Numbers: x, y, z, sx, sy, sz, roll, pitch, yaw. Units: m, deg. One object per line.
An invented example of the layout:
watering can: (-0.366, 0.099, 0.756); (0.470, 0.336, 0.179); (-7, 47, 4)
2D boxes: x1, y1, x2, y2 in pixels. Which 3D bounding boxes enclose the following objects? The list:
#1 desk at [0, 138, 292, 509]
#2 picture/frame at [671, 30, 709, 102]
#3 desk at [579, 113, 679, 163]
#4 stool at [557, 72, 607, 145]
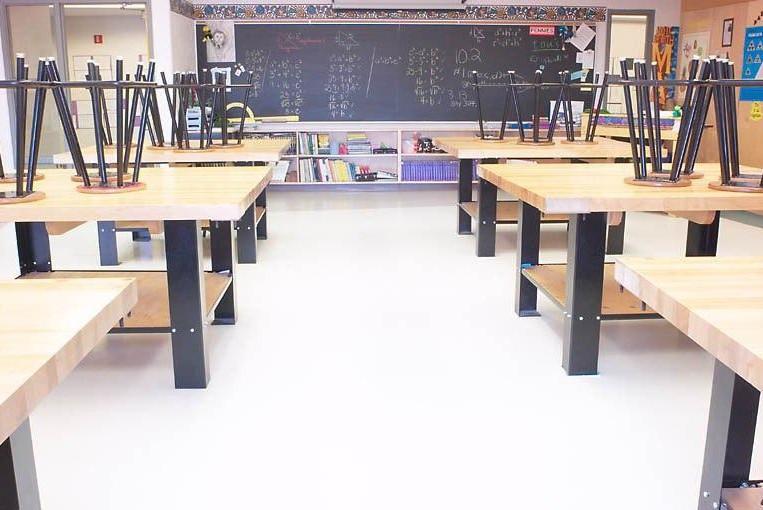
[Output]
desk: (-0.769, 0.235, 2.816); (1.546, 0.879, 1.278); (0, 21, -2)
picture/frame: (3.835, -2.253, 7.023); (0.535, 0.884, 0.035); (21, 2, -44)
desk: (2.502, -1.247, 5.685); (0.779, 0.515, 1.113); (-5, 17, -18)
stool: (1.560, -1.151, 4.405); (0.417, 0.582, 0.389); (-6, 7, -17)
